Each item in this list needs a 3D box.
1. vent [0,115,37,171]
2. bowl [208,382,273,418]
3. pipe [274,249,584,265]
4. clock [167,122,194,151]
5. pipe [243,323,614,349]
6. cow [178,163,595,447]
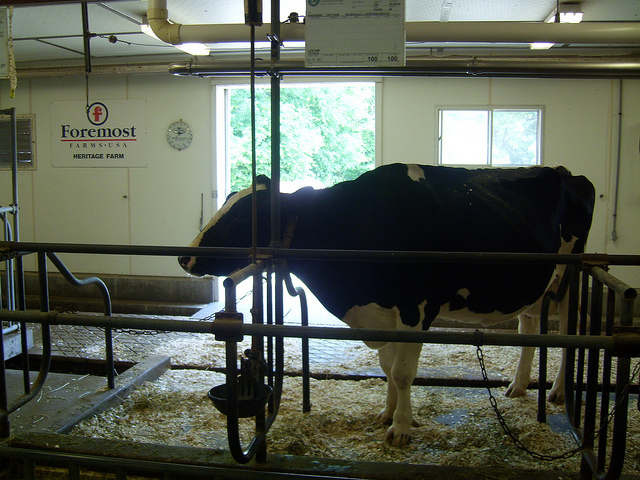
[{"bbox_3d":[-3.749,-1.206,7.763,0.554,0.683,0.094,1,10,13],"label":"vent"},{"bbox_3d":[-0.426,0.873,3.348,0.342,0.134,0.340,2,2,0],"label":"bowl"},{"bbox_3d":[0.594,0.085,3.538,1.685,0.099,0.227,0,10,6],"label":"pipe"},{"bbox_3d":[-1.637,-1.230,7.390,0.338,0.337,0.046,0,5,15],"label":"clock"},{"bbox_3d":[0.525,0.490,3.150,1.802,0.161,0.191,0,10,3],"label":"pipe"},{"bbox_3d":[0.641,0.441,4.360,2.946,1.867,0.780,-2,1,-20],"label":"cow"}]
